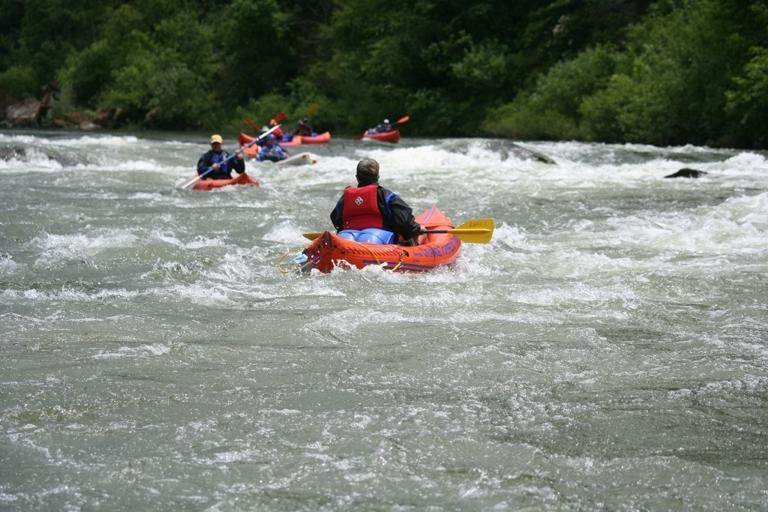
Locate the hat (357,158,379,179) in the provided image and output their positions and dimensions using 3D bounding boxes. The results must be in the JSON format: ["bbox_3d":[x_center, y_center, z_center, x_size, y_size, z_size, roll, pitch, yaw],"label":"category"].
[{"bbox_3d":[-0.308,-1.734,19.809,0.435,0.368,0.456,6,13,1],"label":"hat"}]

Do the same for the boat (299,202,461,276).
[{"bbox_3d":[0.028,-0.737,20.449,1.536,0.647,2.656,14,-3,28],"label":"boat"}]

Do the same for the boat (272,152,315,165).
[{"bbox_3d":[-2.577,-2.676,28.442,0.442,0.221,1.222,0,-9,-34],"label":"boat"}]

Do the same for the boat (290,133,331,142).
[{"bbox_3d":[-2.556,-4.306,37.207,1.127,0.274,0.742,0,-1,-30],"label":"boat"}]

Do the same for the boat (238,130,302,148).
[{"bbox_3d":[-4.069,-3.961,34.441,2.296,0.539,1.372,4,-2,-2],"label":"boat"}]
